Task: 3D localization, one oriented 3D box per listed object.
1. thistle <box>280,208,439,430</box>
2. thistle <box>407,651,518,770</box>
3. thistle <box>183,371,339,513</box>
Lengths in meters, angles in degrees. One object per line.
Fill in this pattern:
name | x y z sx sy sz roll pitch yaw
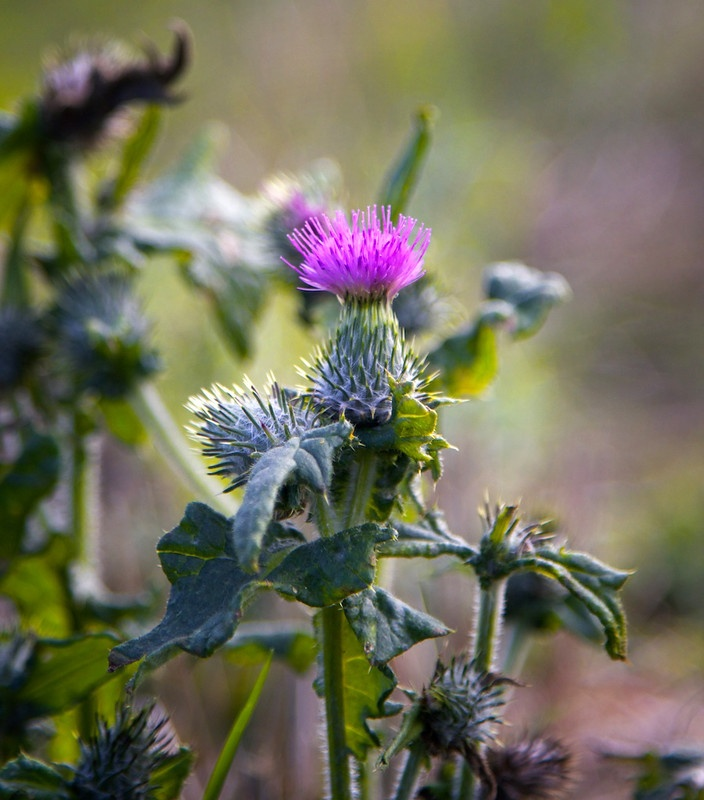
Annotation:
thistle | 0.000 -0.222 4.968 0.542 0.846 0.533 -3 -7 -5
thistle | 0.315 0.819 4.591 0.277 0.321 0.314 11 10 11
thistle | -0.240 0.137 4.600 0.346 0.331 0.358 4 3 -39
